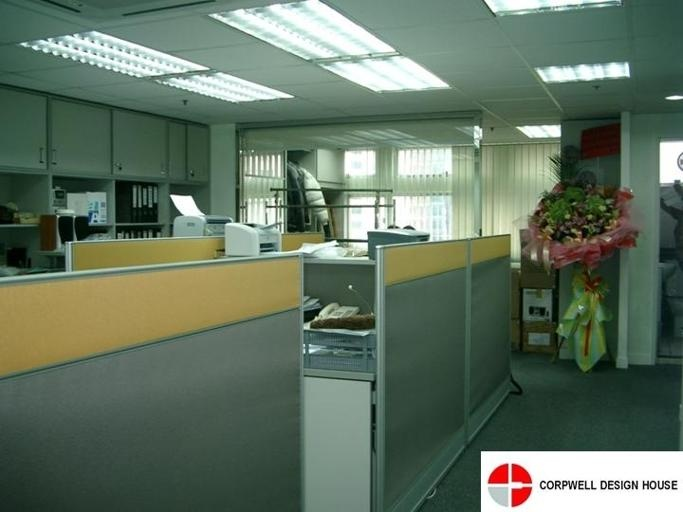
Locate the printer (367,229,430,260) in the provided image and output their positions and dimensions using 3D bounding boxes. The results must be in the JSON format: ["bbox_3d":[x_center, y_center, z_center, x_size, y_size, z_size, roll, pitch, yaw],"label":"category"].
[{"bbox_3d":[0.393,-0.086,3.772,0.527,0.171,0.238,-3,3,-38],"label":"printer"}]

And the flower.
[{"bbox_3d":[2.433,-0.529,6.114,0.906,1.298,1.050,-1,2,-17],"label":"flower"}]

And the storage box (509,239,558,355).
[{"bbox_3d":[2.261,0.561,6.793,0.525,1.150,0.353,0,2,21],"label":"storage box"}]

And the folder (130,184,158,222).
[{"bbox_3d":[-2.323,-0.616,6.732,0.236,0.438,0.444,-2,-1,1],"label":"folder"}]
